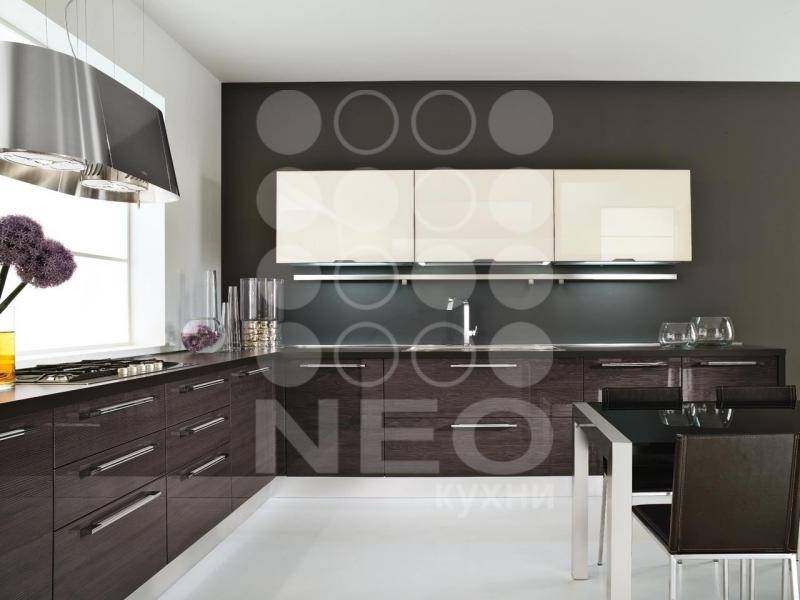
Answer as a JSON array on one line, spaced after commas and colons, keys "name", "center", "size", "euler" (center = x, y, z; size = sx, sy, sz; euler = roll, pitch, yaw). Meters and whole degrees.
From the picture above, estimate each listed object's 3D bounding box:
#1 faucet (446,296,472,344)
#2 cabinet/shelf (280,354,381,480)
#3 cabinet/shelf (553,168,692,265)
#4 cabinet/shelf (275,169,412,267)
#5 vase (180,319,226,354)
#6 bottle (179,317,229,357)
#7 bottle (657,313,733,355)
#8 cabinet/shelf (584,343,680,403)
[{"name": "faucet", "center": [0.478, 0.160, 5.060], "size": [0.163, 0.352, 0.223], "euler": [-10, 12, -43]}, {"name": "cabinet/shelf", "center": [-0.294, 0.792, 4.737], "size": [0.978, 1.014, 0.714], "euler": [-1, -7, 2]}, {"name": "cabinet/shelf", "center": [1.609, -0.573, 4.859], "size": [1.258, 0.762, 0.618], "euler": [0, -5, 0]}, {"name": "cabinet/shelf", "center": [-0.390, -0.595, 4.694], "size": [1.299, 0.749, 0.631], "euler": [0, 0, 2]}, {"name": "vase", "center": [-1.330, 0.238, 4.370], "size": [0.237, 0.173, 0.254], "euler": [0, -3, 3]}, {"name": "bottle", "center": [-1.325, 0.232, 4.332], "size": [0.241, 0.175, 0.257], "euler": [0, -3, 0]}, {"name": "bottle", "center": [2.094, 0.231, 4.601], "size": [0.439, 0.157, 0.251], "euler": [-1, -2, 16]}, {"name": "cabinet/shelf", "center": [1.563, 0.482, 4.256], "size": [0.591, 0.256, 0.377], "euler": [0, -6, 1]}]
